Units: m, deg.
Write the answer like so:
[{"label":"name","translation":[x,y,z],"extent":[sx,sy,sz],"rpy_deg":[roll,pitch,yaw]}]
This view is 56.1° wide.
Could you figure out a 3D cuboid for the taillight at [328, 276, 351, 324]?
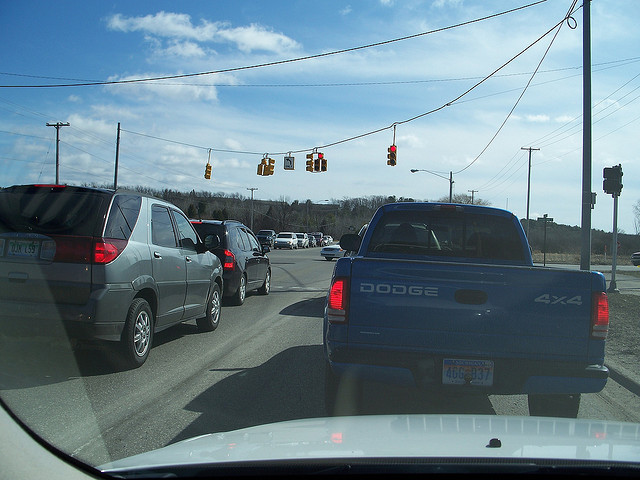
[{"label":"taillight","translation":[0.158,0.543,5.718],"extent":[0.191,0.361,0.202],"rpy_deg":[9,-4,-44]}]

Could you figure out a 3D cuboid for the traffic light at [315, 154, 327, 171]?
[{"label":"traffic light","translation":[0.005,-3.747,29.029],"extent":[0.539,0.987,1.089],"rpy_deg":[-2,-10,-1]}]

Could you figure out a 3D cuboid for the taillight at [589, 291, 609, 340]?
[{"label":"taillight","translation":[2.564,0.693,5.510],"extent":[0.195,0.438,0.126],"rpy_deg":[2,-11,-20]}]

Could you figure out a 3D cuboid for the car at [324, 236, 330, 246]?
[{"label":"car","translation":[0.851,0.165,79.508],"extent":[0.924,1.284,2.289],"rpy_deg":[-1,-3,8]}]

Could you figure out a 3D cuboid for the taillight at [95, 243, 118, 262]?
[{"label":"taillight","translation":[-2.517,0.158,7.086],"extent":[0.054,0.226,0.271],"rpy_deg":[-9,-12,34]}]

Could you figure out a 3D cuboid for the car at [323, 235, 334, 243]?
[{"label":"car","translation":[1.130,-0.104,89.221],"extent":[0.970,0.887,1.663],"rpy_deg":[2,12,12]}]

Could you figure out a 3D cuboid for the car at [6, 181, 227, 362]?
[{"label":"car","translation":[-2.587,0.467,8.031],"extent":[1.051,2.271,2.675],"rpy_deg":[-6,-11,24]}]

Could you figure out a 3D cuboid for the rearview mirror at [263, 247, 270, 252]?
[{"label":"rearview mirror","translation":[-1.344,0.244,14.993],"extent":[0.105,0.095,0.179],"rpy_deg":[3,-8,2]}]

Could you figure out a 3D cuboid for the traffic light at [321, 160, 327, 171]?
[{"label":"traffic light","translation":[0.173,-3.635,29.442],"extent":[0.231,0.527,0.161],"rpy_deg":[5,-12,-33]}]

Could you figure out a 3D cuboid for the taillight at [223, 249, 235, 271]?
[{"label":"taillight","translation":[-1.843,0.408,12.218],"extent":[0.233,0.394,0.178],"rpy_deg":[2,-17,-18]}]

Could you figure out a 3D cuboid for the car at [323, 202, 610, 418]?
[{"label":"car","translation":[1.590,0.715,8.032],"extent":[2.745,2.284,5.255],"rpy_deg":[3,1,7]}]

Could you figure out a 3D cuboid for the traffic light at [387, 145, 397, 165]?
[{"label":"traffic light","translation":[3.050,-3.606,25.530],"extent":[0.320,0.790,0.385],"rpy_deg":[-1,-10,-8]}]

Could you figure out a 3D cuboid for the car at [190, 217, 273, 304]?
[{"label":"car","translation":[-1.769,0.368,12.985],"extent":[1.050,1.060,2.528],"rpy_deg":[0,5,13]}]

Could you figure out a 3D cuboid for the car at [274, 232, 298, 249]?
[{"label":"car","translation":[-3.390,-0.029,59.390],"extent":[2.143,1.970,4.041],"rpy_deg":[-1,-10,-4]}]

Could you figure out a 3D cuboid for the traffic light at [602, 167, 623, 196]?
[{"label":"traffic light","translation":[8.226,-1.634,16.910],"extent":[0.466,0.750,0.508],"rpy_deg":[-6,-11,21]}]
